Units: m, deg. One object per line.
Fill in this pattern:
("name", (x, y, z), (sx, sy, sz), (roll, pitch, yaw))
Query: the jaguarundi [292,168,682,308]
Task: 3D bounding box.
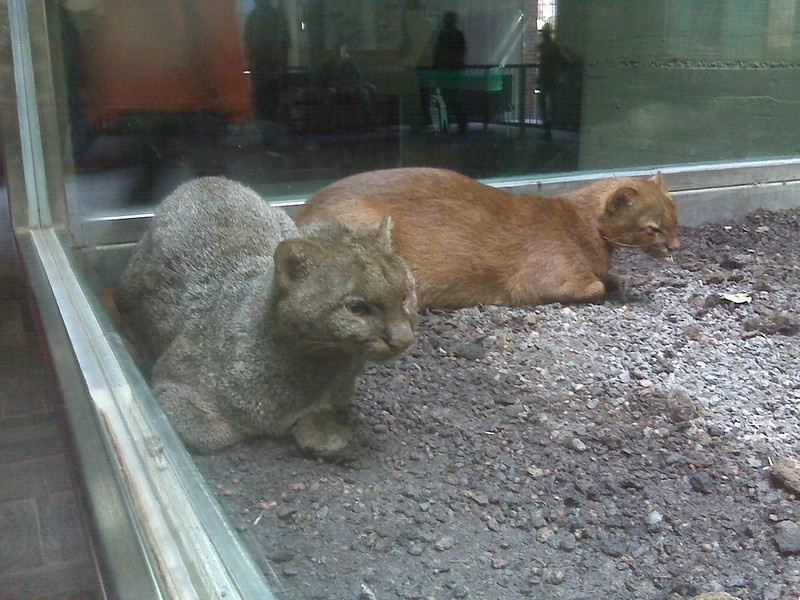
("jaguarundi", (0.334, -0.246, 2.223), (1.023, 0.280, 0.478), (-1, 29, 5))
